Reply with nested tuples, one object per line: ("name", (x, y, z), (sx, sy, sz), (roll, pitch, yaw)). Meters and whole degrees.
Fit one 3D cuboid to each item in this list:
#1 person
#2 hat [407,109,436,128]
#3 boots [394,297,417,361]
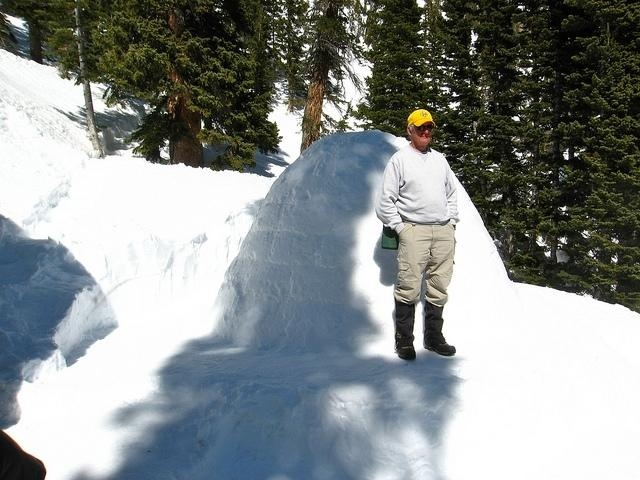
("person", (1.254, -0.082, 7.451), (1.055, 3.053, 1.026), (6, 16, 8))
("hat", (1.281, -1.593, 7.562), (0.205, 0.172, 0.294), (-2, 8, -11))
("boots", (1.115, 1.159, 7.439), (0.283, 0.690, 0.379), (3, 16, -4))
